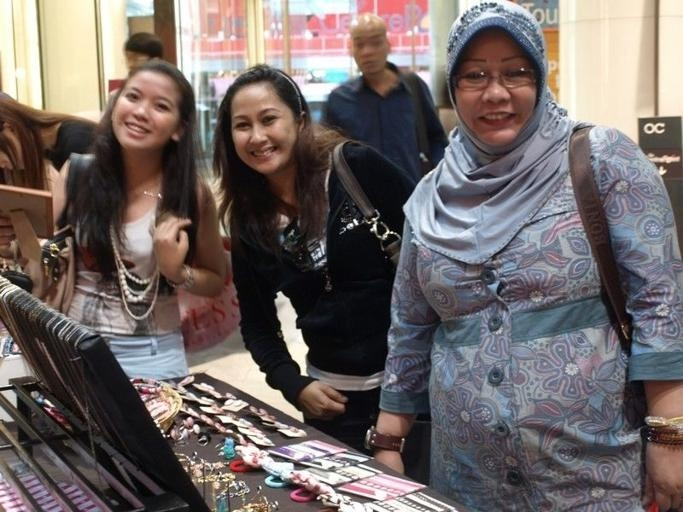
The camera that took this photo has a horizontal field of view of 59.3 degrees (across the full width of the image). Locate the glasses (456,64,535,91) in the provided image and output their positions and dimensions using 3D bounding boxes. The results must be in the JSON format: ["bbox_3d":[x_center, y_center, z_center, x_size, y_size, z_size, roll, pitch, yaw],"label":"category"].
[{"bbox_3d":[0.467,-0.525,1.796,0.198,0.071,0.156,-4,11,-5],"label":"glasses"}]
